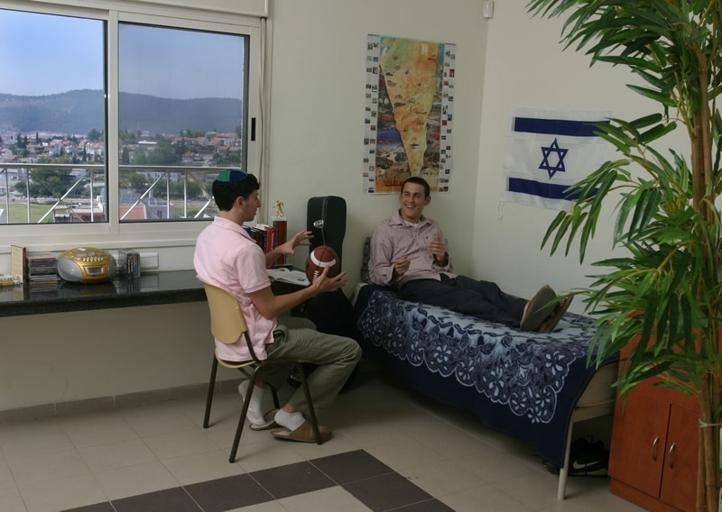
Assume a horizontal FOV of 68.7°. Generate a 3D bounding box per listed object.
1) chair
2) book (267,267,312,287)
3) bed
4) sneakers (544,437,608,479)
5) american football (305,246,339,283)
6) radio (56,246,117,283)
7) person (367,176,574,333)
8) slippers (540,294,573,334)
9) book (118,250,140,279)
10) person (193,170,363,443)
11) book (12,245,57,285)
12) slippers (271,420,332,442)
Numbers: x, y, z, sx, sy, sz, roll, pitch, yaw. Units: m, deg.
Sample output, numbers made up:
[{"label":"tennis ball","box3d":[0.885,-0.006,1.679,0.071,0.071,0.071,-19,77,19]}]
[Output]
[{"label":"chair","box3d":[-0.655,0.664,3.311,0.675,1.005,0.710,5,6,38]},{"label":"book","box3d":[-0.495,0.144,3.630,0.194,0.031,0.143,17,20,34]},{"label":"bed","box3d":[0.720,0.582,3.300,0.843,0.762,1.402,-13,31,-38]},{"label":"sneakers","box3d":[1.339,1.187,3.325,0.172,0.230,0.526,-1,3,-1]},{"label":"american football","box3d":[-0.249,0.069,3.577,0.245,0.280,0.330,3,11,1]},{"label":"radio","box3d":[-1.772,0.052,3.419,0.366,0.201,0.349,8,9,18]},{"label":"person","box3d":[0.728,-0.043,3.871,0.765,1.017,1.652,-7,13,-29]},{"label":"slippers","box3d":[1.185,0.358,3.224,0.088,0.340,0.100,36,20,27]},{"label":"book","box3d":[-1.538,0.069,3.519,0.151,0.198,0.136,1,5,0]},{"label":"person","box3d":[-0.544,0.342,3.376,0.962,1.694,0.723,-5,9,-30]},{"label":"book","box3d":[-2.072,0.049,3.341,0.280,0.213,0.167,-2,12,-21]},{"label":"slippers","box3d":[-0.377,1.109,3.366,0.362,0.118,0.150,-1,4,5]}]
